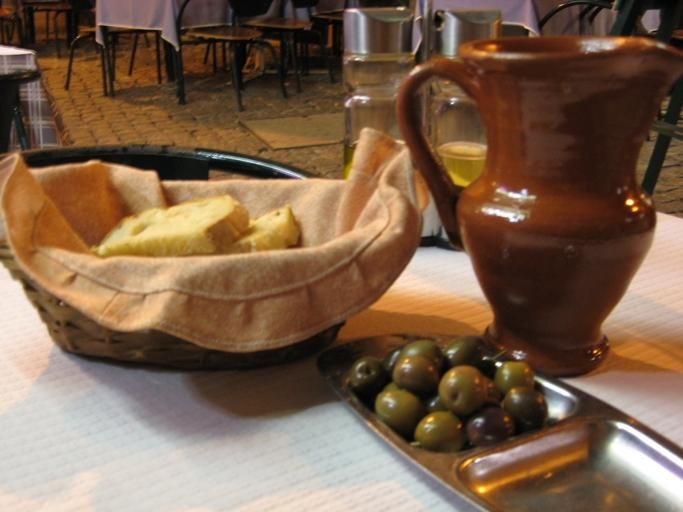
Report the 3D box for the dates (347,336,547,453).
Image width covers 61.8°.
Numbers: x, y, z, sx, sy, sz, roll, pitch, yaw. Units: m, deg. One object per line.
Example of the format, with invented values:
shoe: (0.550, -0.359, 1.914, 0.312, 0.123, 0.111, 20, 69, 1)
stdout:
dates: (0.089, 0.106, 0.466, 0.151, 0.054, 0.119, -8, 25, -20)
